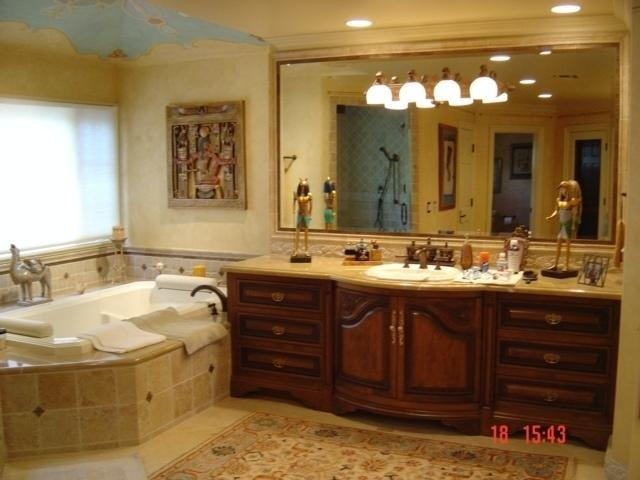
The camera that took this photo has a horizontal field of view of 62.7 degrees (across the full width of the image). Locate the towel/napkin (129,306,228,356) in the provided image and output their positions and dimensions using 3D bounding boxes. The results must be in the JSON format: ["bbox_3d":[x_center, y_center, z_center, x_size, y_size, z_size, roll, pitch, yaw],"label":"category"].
[{"bbox_3d":[-0.969,0.611,3.802,0.442,0.143,0.426,10,13,32],"label":"towel/napkin"}]

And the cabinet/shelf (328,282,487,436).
[{"bbox_3d":[0.676,0.790,3.703,1.183,0.929,0.647,-2,-5,39],"label":"cabinet/shelf"}]

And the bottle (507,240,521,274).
[{"bbox_3d":[1.352,0.108,3.659,0.087,0.222,0.102,3,6,29],"label":"bottle"}]

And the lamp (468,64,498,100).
[{"bbox_3d":[1.158,-1.111,3.722,0.253,0.226,0.231,-3,15,-1],"label":"lamp"}]

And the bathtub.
[{"bbox_3d":[-1.377,0.570,3.862,0.798,0.345,1.082,5,11,31],"label":"bathtub"}]

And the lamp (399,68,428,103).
[{"bbox_3d":[0.703,-1.139,3.934,0.203,0.233,0.156,0,5,0],"label":"lamp"}]

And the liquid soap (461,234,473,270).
[{"bbox_3d":[1.075,0.087,3.858,0.091,0.238,0.229,1,5,15],"label":"liquid soap"}]

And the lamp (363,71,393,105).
[{"bbox_3d":[0.447,-1.137,3.947,0.266,0.250,0.237,3,18,9],"label":"lamp"}]

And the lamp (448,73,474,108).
[{"bbox_3d":[1.056,-1.068,3.762,0.239,0.233,0.226,5,16,24],"label":"lamp"}]

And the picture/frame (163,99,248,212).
[{"bbox_3d":[-1.007,-0.789,4.780,1.191,1.196,0.110,2,7,17],"label":"picture/frame"}]

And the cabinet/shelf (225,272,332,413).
[{"bbox_3d":[-0.151,0.696,4.089,0.937,0.961,0.653,1,2,33],"label":"cabinet/shelf"}]

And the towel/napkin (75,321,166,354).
[{"bbox_3d":[-1.273,0.631,3.455,0.352,0.134,0.417,2,5,33],"label":"towel/napkin"}]

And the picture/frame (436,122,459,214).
[{"bbox_3d":[0.958,-0.527,3.948,0.161,0.568,0.060,4,13,29],"label":"picture/frame"}]

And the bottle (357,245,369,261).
[{"bbox_3d":[0.328,0.099,4.072,0.126,0.115,0.117,2,2,11],"label":"bottle"}]

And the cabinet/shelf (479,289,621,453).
[{"bbox_3d":[1.469,0.823,3.527,0.841,0.907,0.564,4,-6,7],"label":"cabinet/shelf"}]

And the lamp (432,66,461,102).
[{"bbox_3d":[0.908,-1.129,3.799,0.266,0.249,0.235,-6,23,-10],"label":"lamp"}]

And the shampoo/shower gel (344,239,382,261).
[{"bbox_3d":[0.344,0.065,4.088,0.217,0.113,0.193,0,3,3],"label":"shampoo/shower gel"}]

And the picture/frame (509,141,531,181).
[{"bbox_3d":[1.464,-0.563,3.793,0.025,0.270,0.177,-11,12,-42],"label":"picture/frame"}]

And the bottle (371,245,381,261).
[{"bbox_3d":[0.425,0.094,4.047,0.082,0.119,0.110,0,5,3],"label":"bottle"}]

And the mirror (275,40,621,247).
[{"bbox_3d":[0.815,-0.726,4.119,3.014,1.569,0.052,11,23,41],"label":"mirror"}]

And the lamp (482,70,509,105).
[{"bbox_3d":[1.304,-1.095,3.795,0.231,0.222,0.213,-2,11,5],"label":"lamp"}]
